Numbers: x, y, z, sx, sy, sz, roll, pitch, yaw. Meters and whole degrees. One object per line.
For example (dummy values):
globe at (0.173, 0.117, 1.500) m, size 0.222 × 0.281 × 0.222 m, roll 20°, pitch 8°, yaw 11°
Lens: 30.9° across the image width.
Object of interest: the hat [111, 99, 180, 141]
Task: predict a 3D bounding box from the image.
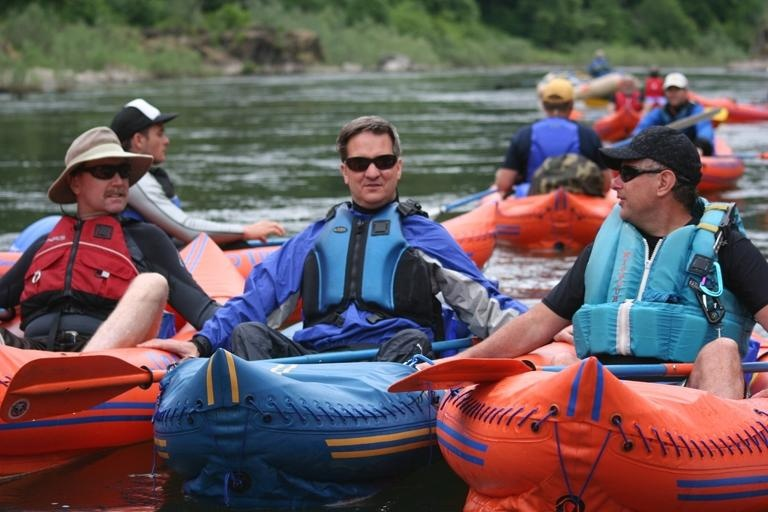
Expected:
hat at (-2.390, -1.394, 13.620) m, size 0.683 × 0.362 × 0.402 m, roll -16°, pitch 16°, yaw -5°

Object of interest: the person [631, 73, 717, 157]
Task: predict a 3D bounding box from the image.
person at (3.998, -1.886, 19.467) m, size 1.485 × 0.945 × 2.403 m, roll -2°, pitch 2°, yaw 16°
